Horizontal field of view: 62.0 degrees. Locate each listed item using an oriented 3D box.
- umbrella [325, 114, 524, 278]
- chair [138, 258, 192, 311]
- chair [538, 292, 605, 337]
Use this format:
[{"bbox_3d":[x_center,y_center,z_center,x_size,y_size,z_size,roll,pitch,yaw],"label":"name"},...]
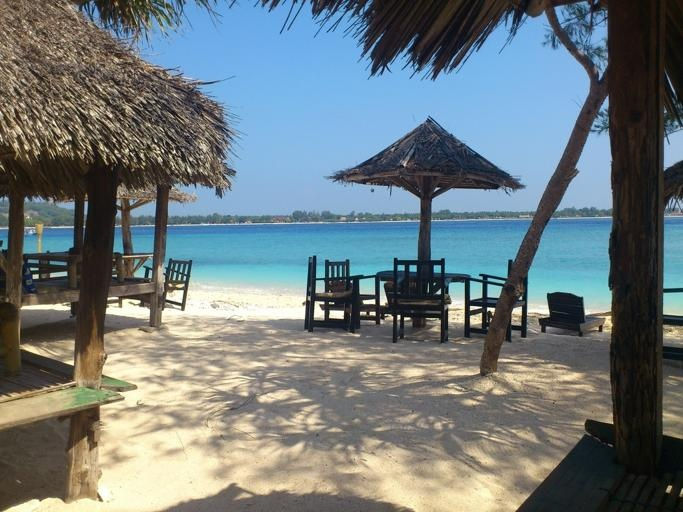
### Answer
[{"bbox_3d":[1.545,-1.155,10.892,2.915,2.594,2.994,1,-1,-8],"label":"umbrella"},{"bbox_3d":[-3.806,0.641,12.224,1.057,1.517,0.992,-2,-8,25],"label":"chair"},{"bbox_3d":[4.457,1.090,10.851,0.683,0.759,1.206,3,3,44],"label":"chair"}]
